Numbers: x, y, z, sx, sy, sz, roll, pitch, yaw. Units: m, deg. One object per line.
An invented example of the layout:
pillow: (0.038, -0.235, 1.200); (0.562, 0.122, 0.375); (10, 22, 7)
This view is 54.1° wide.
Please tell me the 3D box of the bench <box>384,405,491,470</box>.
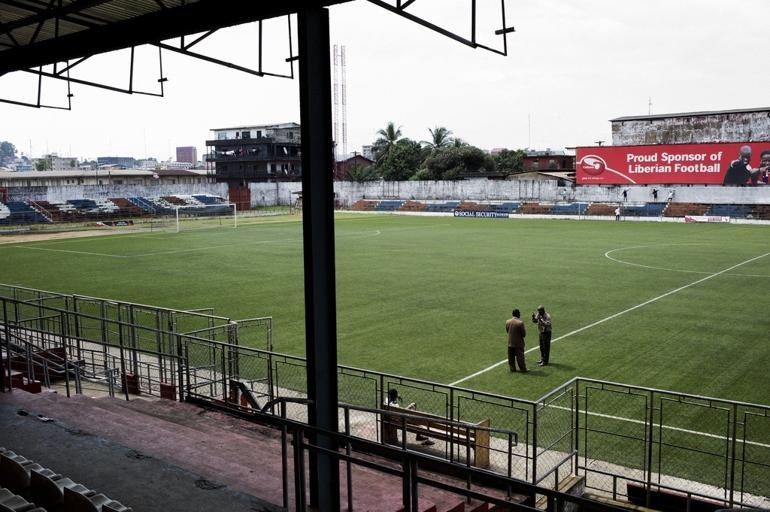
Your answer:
bench: (0.950, 3.487, 14.369); (1.970, 0.624, 0.413); (8, 15, 38)

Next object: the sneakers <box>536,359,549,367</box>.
sneakers: (4.265, 2.905, 20.463); (0.132, 0.134, 0.400); (-1, -6, 29)

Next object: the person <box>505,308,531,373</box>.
person: (3.483, 2.152, 19.999); (0.491, 1.741, 1.049); (-1, 11, 8)

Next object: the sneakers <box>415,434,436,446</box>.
sneakers: (0.818, 3.729, 15.312); (0.386, 0.107, 0.205); (0, 3, -8)

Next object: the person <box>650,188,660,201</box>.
person: (24.450, -5.634, 68.432); (1.300, 1.231, 0.299); (6, 14, 40)

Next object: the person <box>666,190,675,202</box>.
person: (25.406, -5.406, 67.450); (0.332, 1.014, 0.654); (-12, 15, -40)

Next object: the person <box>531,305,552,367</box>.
person: (4.216, 2.113, 20.302); (0.402, 1.634, 0.842); (1, 11, 15)
